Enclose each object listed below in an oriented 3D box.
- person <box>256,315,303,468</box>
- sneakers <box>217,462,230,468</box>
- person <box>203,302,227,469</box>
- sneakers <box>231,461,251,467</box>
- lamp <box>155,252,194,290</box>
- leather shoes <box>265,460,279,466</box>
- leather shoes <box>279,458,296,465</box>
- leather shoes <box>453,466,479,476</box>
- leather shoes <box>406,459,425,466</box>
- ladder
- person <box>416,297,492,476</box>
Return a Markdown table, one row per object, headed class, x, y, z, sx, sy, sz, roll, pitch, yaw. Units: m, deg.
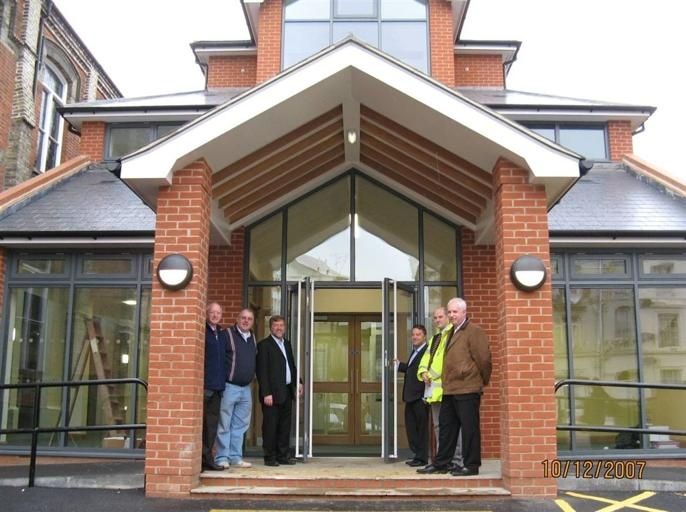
| class | x | y | z | sx | sy | sz | roll | pitch | yaw |
| --- | --- | --- | --- | --- | --- | --- | --- | --- | --- |
| person | -1.029 | 2.150 | 12.479 | 0.469 | 2.329 | 0.778 | -6 | -16 | 22 |
| sneakers | -1.789 | 3.139 | 11.688 | 0.180 | 0.077 | 0.060 | 10 | -15 | -1 |
| person | -1.935 | 1.959 | 11.777 | 0.354 | 2.449 | 0.544 | 1 | -15 | -5 |
| sneakers | -1.557 | 3.214 | 11.979 | 0.271 | 0.108 | 0.099 | -2 | -20 | 12 |
| lamp | -2.428 | 0.239 | 11.244 | 0.427 | 0.445 | 0.134 | 13 | -14 | 6 |
| leather shoes | -1.097 | 3.239 | 12.193 | 0.182 | 0.077 | 0.087 | -8 | -13 | 33 |
| leather shoes | -0.881 | 3.264 | 12.392 | 0.268 | 0.105 | 0.099 | 2 | -10 | -6 |
| leather shoes | 1.766 | 3.114 | 11.349 | 0.394 | 0.145 | 0.143 | 4 | -13 | -3 |
| leather shoes | 1.164 | 3.286 | 12.354 | 0.182 | 0.060 | 0.135 | 15 | -19 | -28 |
| ladder | -4.419 | 2.139 | 14.018 | 1.271 | 2.510 | 0.494 | 3 | -15 | -11 |
| person | 1.688 | 1.909 | 11.449 | 0.688 | 2.541 | 0.927 | 7 | -17 | -25 |
